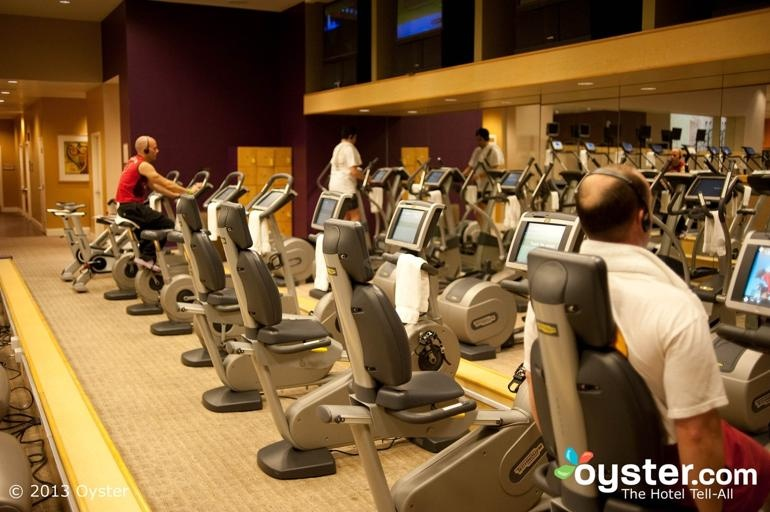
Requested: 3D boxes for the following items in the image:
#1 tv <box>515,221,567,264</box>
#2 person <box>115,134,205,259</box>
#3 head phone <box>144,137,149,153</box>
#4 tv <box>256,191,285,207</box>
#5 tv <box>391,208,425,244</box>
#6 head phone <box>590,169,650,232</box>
[{"bbox_3d":[0.980,-0.093,3.339,0.092,0.243,0.261,10,8,-29],"label":"tv"},{"bbox_3d":[-3.076,-0.732,6.814,0.777,1.547,1.698,-5,13,-11],"label":"person"},{"bbox_3d":[-3.102,-1.429,6.991,0.044,0.122,0.095,-5,2,-2],"label":"head phone"},{"bbox_3d":[-1.238,-0.608,5.661,0.197,0.168,0.346,-13,16,-38],"label":"tv"},{"bbox_3d":[0.239,-0.241,4.549,0.085,0.300,0.311,20,-2,-38],"label":"tv"},{"bbox_3d":[0.839,-0.193,1.837,0.196,0.197,0.055,-8,2,30],"label":"head phone"}]
